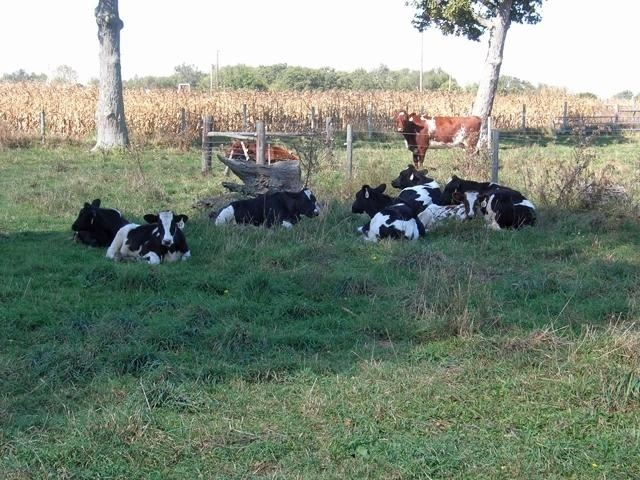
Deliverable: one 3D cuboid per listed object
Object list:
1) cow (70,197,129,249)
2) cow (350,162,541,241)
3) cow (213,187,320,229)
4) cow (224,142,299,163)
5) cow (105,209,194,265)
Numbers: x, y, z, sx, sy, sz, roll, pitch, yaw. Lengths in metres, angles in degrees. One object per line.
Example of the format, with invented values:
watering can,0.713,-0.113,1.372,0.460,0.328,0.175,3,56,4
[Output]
cow,-3.756,-0.227,13.885,1.250,0.741,0.488,7,6,43
cow,2.275,-0.661,15.768,3.340,0.895,2.160,-1,13,-15
cow,-0.959,-0.622,15.420,1.885,0.695,0.563,1,11,-3
cow,-1.595,-2.303,21.168,1.846,0.526,1.389,10,15,33
cow,-2.827,-0.056,13.312,0.750,0.642,1.234,-1,1,-39
